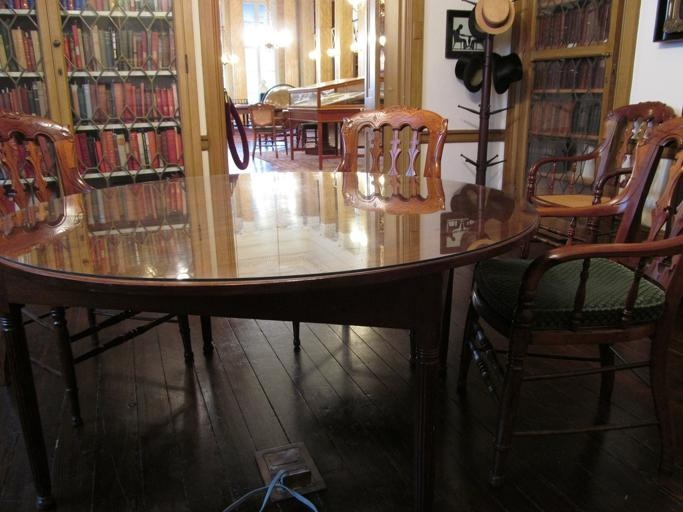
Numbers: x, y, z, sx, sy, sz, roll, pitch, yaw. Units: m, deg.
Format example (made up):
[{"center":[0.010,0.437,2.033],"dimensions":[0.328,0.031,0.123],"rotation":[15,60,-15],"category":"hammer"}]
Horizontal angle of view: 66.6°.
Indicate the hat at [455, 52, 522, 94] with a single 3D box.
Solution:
[{"center":[1.309,-1.644,4.632],"dimensions":[0.427,0.244,0.408],"rotation":[-3,15,1],"category":"hat"}]
